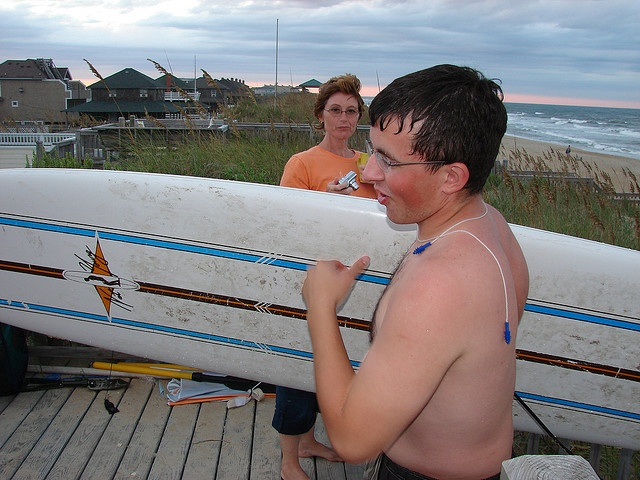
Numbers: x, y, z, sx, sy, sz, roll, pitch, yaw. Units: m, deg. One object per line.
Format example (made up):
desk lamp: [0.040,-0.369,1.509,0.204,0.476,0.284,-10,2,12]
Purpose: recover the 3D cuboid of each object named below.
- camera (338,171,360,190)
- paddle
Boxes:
camera: [0.174,-0.354,2.886,0.115,0.078,0.073,-56,13,-30]
paddle: [-0.853,0.904,3.142,0.994,0.233,0.101,6,64,8]
